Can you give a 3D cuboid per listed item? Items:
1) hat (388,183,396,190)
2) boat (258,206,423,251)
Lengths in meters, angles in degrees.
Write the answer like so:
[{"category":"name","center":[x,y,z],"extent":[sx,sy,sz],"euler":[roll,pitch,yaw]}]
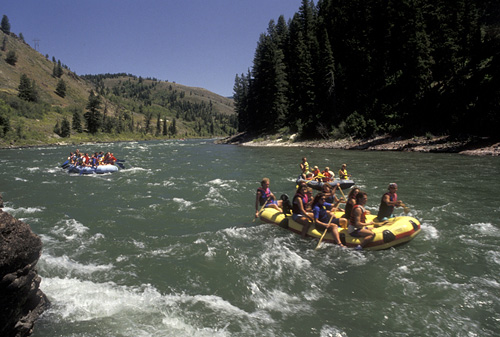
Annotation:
[{"category":"hat","center":[5.627,0.708,14.487],"extent":[0.277,0.249,0.177],"euler":[2,4,12]},{"category":"boat","center":[3.535,2.399,14.456],"extent":[4.314,0.689,2.297],"euler":[1,4,26]}]
